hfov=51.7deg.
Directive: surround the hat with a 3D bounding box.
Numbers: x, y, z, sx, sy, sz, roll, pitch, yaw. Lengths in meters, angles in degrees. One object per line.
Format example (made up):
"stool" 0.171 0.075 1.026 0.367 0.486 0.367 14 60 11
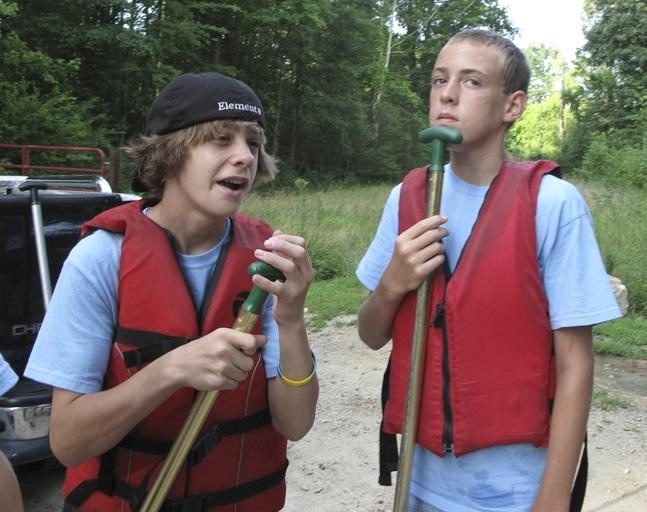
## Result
"hat" -0.426 -0.508 2.434 0.288 0.251 0.390 -12 -6 -36
